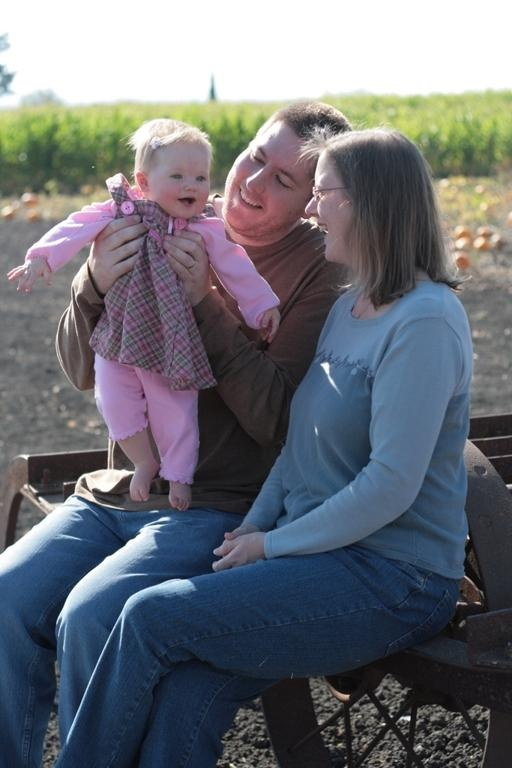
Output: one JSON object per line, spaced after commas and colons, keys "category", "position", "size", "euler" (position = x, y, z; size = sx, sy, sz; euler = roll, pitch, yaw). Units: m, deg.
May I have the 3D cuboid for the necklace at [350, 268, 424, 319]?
{"category": "necklace", "position": [0.304, -0.194, 2.195], "size": [0.136, 0.066, 0.094], "euler": [-29, 19, 14]}

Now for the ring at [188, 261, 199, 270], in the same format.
{"category": "ring", "position": [-0.162, -0.301, 2.407], "size": [0.020, 0.018, 0.021], "euler": [-1, 19, 0]}
